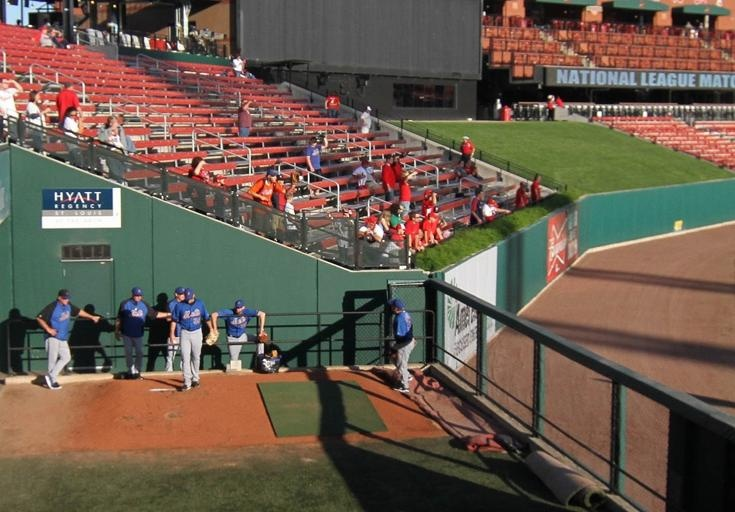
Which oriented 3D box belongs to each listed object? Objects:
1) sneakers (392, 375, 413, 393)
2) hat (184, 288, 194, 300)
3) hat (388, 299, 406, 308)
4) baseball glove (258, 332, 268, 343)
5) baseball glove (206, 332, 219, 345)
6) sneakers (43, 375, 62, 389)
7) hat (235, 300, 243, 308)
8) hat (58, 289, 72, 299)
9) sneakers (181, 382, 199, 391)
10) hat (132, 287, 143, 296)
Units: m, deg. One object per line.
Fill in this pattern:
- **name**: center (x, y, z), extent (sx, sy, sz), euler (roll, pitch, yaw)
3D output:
- **sneakers**: center (0.893, 2.968, 23.429), extent (0.619, 0.276, 0.202), euler (3, 4, 30)
- **hat**: center (-4.013, 0.860, 23.301), extent (0.173, 0.212, 0.389), euler (-3, 8, -4)
- **hat**: center (0.663, 1.071, 23.317), extent (0.293, 0.177, 0.496), euler (-3, 8, -7)
- **baseball glove**: center (-2.439, 1.949, 24.545), extent (0.181, 0.226, 0.244), euler (0, -3, -36)
- **baseball glove**: center (-3.591, 1.934, 23.975), extent (0.266, 0.260, 0.331), euler (11, -10, -23)
- **sneakers**: center (-7.050, 2.889, 23.159), extent (0.211, 0.474, 0.188), euler (-31, 7, 0)
- **hat**: center (-3.055, 1.153, 24.707), extent (0.126, 0.184, 0.180), euler (1, 4, -7)
- **hat**: center (-6.953, 0.885, 23.716), extent (0.235, 0.133, 0.179), euler (28, 16, 21)
- **sneakers**: center (-3.983, 2.949, 23.264), extent (0.141, 0.170, 0.425), euler (3, 6, 39)
- **hat**: center (-5.426, 0.822, 24.311), extent (0.176, 0.154, 0.247), euler (12, 4, -40)
